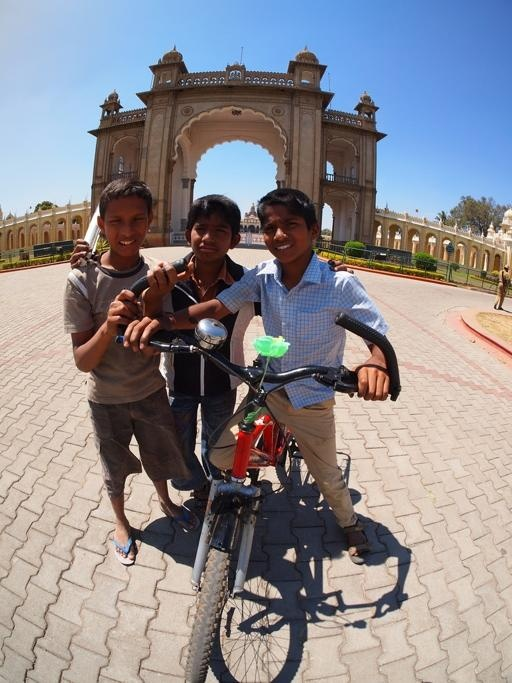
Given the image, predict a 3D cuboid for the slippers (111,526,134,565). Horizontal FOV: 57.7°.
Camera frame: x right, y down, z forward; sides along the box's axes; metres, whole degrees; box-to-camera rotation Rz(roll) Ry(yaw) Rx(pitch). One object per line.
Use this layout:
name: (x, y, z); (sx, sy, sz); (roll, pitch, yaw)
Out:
slippers: (-0.716, 1.125, 2.541); (0.076, 0.065, 0.181); (16, -10, -24)

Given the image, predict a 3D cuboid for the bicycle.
bicycle: (-0.051, 0.608, 1.896); (0.762, 1.542, 0.758); (-1, 11, -22)

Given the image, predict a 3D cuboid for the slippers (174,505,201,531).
slippers: (-0.397, 1.047, 2.758); (0.081, 0.052, 0.206); (-2, 1, -34)

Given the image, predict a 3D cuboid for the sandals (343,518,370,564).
sandals: (0.554, 1.105, 2.584); (0.100, 0.264, 0.073); (-9, -8, 5)
